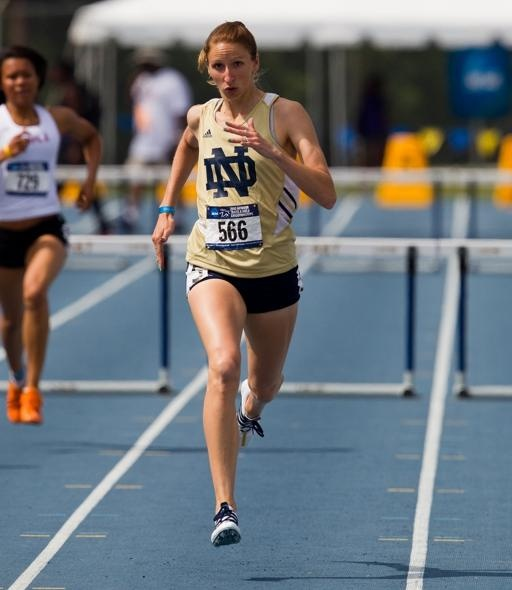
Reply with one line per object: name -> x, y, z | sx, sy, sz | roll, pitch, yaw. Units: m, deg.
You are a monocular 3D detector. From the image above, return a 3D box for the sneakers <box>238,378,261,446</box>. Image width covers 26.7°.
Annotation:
sneakers -> -0.042, 0.601, 4.979 | 0.077, 0.092, 0.240 | 4, 30, 5

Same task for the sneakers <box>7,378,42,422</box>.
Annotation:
sneakers -> -1.119, 0.528, 5.154 | 0.114, 0.130, 0.321 | 4, -10, -18

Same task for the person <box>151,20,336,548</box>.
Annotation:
person -> -0.043, -0.052, 4.004 | 0.675, 1.902, 1.315 | -1, 8, -5

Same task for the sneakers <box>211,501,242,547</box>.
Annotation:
sneakers -> -0.101, 0.754, 3.493 | 0.088, 0.124, 0.132 | -1, 8, -3
